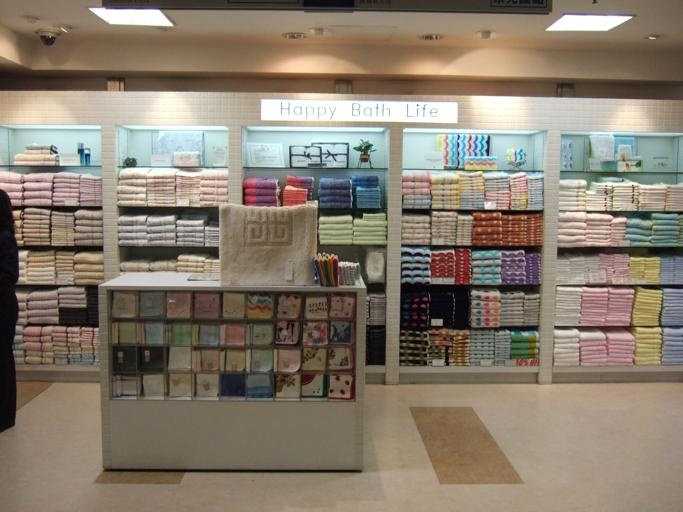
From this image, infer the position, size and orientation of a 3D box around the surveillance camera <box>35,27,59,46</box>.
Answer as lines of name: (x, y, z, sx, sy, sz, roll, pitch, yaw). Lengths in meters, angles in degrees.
surveillance camera: (-3.595, -2.673, 8.165, 0.263, 0.146, 0.270, -4, 4, -24)

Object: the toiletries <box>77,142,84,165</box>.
toiletries: (-3.334, -1.310, 8.543, 0.085, 0.320, 0.265, -4, 4, -21)

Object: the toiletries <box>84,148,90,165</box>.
toiletries: (-3.249, -1.267, 8.520, 0.067, 0.237, 0.183, -3, 4, -12)
